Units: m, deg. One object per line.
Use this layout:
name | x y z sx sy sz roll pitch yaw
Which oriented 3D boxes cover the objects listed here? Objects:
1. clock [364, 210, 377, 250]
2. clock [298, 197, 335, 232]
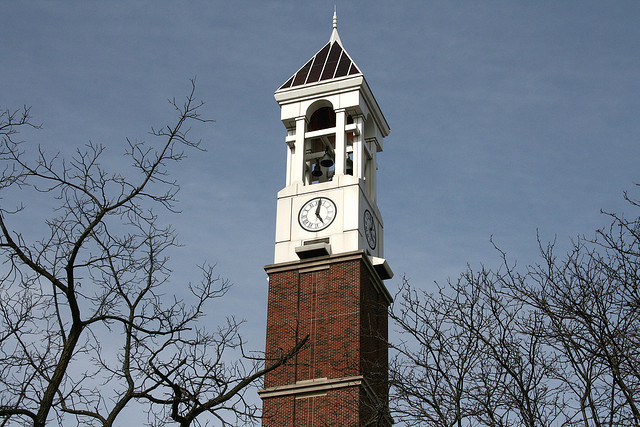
clock | 2.632 0.931 51.787 0.129 1.611 1.546 -15 -30 19
clock | -0.124 0.131 50.802 1.593 1.679 0.240 -21 -48 -2
